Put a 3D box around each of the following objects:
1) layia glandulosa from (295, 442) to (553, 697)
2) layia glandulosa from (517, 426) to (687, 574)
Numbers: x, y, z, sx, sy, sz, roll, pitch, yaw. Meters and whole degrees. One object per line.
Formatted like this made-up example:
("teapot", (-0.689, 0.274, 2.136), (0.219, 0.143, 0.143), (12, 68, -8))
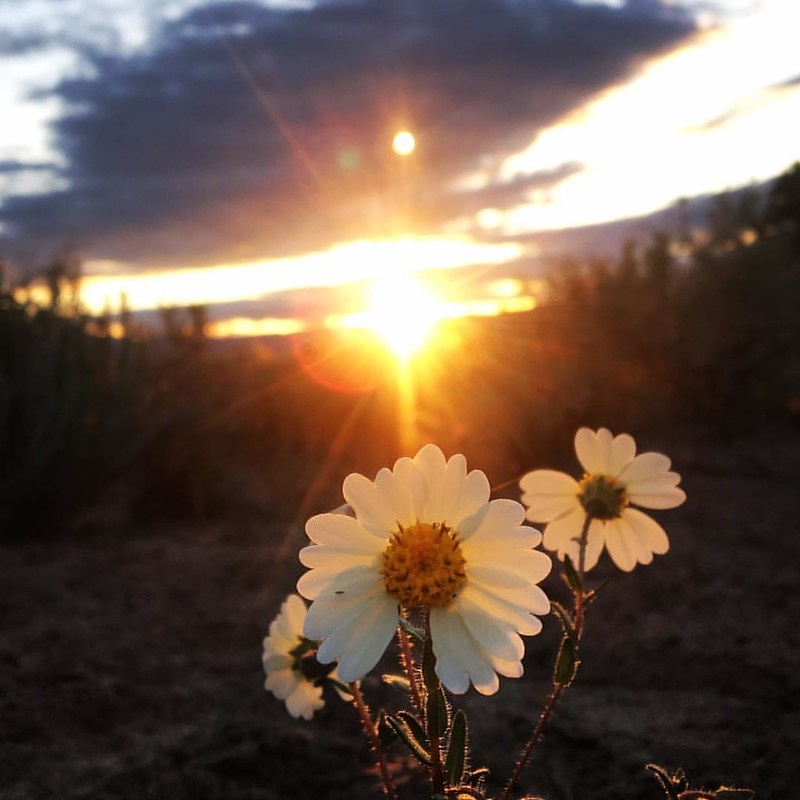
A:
("layia glandulosa", (0.048, 0.319, 1.722), (0.471, 0.442, 0.221), (-3, 6, 6))
("layia glandulosa", (0.469, 0.234, 2.056), (0.398, 0.323, 0.140), (9, 7, 20))
